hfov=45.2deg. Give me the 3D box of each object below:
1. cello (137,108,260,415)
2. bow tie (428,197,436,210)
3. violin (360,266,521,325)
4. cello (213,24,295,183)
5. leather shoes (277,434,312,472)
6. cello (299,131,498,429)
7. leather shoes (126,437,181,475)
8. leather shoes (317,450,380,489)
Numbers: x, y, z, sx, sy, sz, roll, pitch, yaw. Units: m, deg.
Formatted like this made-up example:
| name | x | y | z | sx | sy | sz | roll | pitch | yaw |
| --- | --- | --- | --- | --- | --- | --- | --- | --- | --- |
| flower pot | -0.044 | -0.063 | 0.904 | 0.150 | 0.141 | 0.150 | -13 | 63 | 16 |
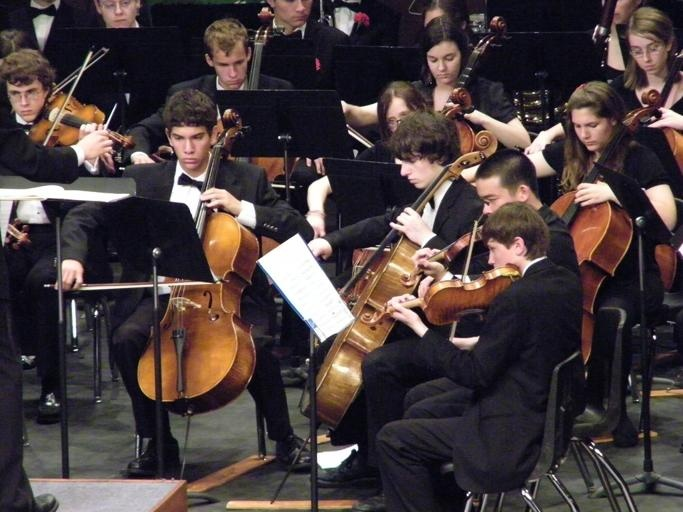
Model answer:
| name | x | y | z | sx | sy | sz | roll | pitch | yaw |
| --- | --- | --- | --- | --- | --- | --- | --- | --- | --- |
| cello | -0.721 | 0.061 | 4.138 | 0.572 | 1.442 | 0.929 | 0 | 3 | 28 |
| bow tie | 0.461 | -0.269 | 4.160 | 0.016 | 0.050 | 0.034 | 5 | 45 | 13 |
| violin | 0.461 | 0.154 | 3.498 | 0.567 | 0.195 | 0.125 | -17 | 37 | -13 |
| cello | -0.675 | -1.037 | 5.592 | 0.591 | 1.083 | 0.357 | -1 | -2 | -10 |
| leather shoes | -0.217 | 1.036 | 4.346 | 0.121 | 0.126 | 0.312 | -10 | 4 | -30 |
| cello | 0.207 | 0.038 | 4.082 | 0.400 | 1.824 | 0.615 | 39 | -7 | 22 |
| leather shoes | -0.977 | 1.058 | 4.380 | 0.148 | 0.143 | 0.334 | -1 | -5 | 23 |
| leather shoes | 0.049 | 1.093 | 4.268 | 0.408 | 0.159 | 0.132 | 1 | -3 | -13 |
